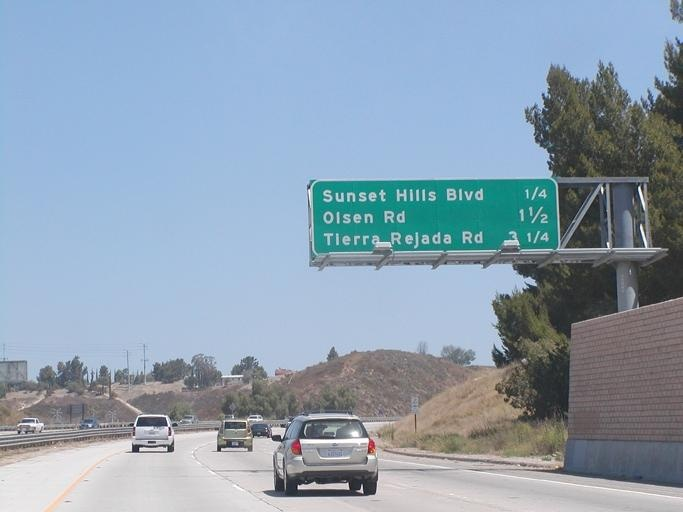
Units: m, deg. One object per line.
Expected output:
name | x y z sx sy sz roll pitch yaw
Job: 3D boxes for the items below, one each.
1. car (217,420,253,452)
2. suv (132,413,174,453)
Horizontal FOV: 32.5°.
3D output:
car | -6.101 10.239 67.102 1.149 1.300 2.307 0 0 -4
suv | -9.895 9.287 62.242 1.260 1.529 2.692 0 0 -2
